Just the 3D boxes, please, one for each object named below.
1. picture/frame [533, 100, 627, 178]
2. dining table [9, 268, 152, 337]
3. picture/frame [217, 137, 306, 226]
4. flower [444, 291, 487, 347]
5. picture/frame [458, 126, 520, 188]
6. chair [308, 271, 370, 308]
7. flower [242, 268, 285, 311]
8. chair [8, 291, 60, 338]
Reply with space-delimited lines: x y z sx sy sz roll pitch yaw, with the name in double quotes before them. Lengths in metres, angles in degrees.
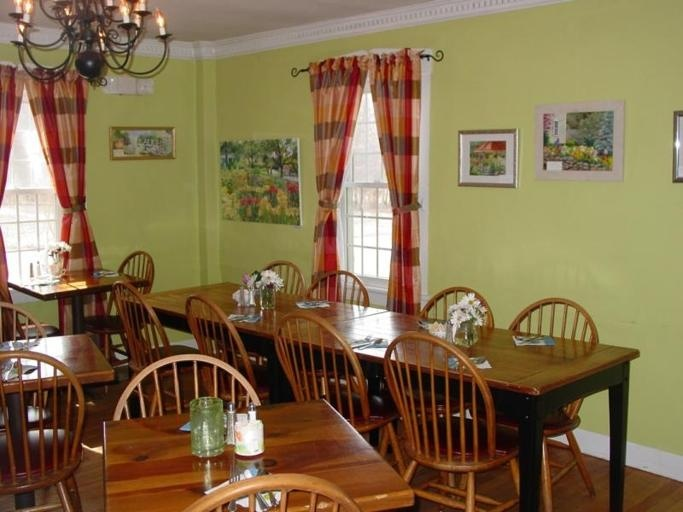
"picture/frame" 1.614 -0.775 3.906 0.506 0.460 0.027 7 11 42
"dining table" -2.157 0.281 4.910 0.791 0.813 0.804 12 15 42
"picture/frame" -0.772 -0.747 5.874 0.861 0.665 0.017 7 13 41
"flower" 0.688 0.354 3.340 0.262 0.317 0.232 1 5 38
"picture/frame" 1.103 -0.729 4.331 0.020 0.411 0.436 -6 8 -43
"chair" -0.016 0.278 4.950 0.376 0.526 0.341 2 3 40
"flower" -0.538 0.236 4.181 0.267 0.286 0.264 -1 0 -38
"chair" -2.514 0.468 4.754 0.378 0.496 0.362 -3 -1 34
